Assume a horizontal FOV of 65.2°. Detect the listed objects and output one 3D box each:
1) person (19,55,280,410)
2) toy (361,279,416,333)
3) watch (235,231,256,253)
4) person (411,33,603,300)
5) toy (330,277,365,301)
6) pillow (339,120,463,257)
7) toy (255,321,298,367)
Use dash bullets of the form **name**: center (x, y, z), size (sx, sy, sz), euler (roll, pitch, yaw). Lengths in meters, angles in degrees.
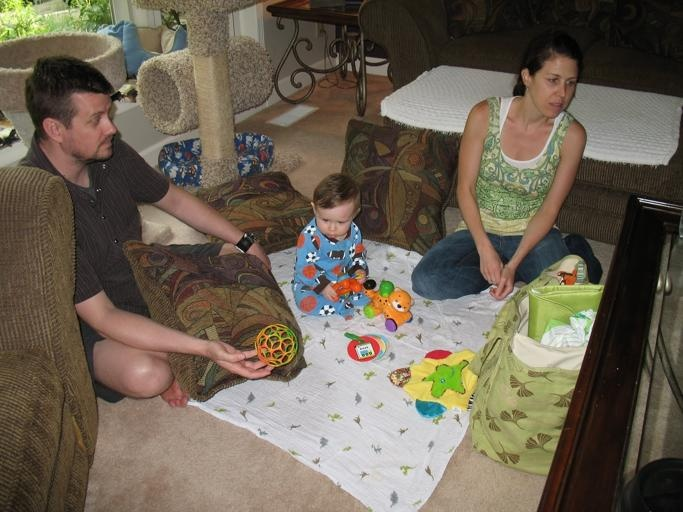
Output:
- **person**: center (-0.740, -0.041, 2.038), size (0.874, 1.195, 0.962), euler (2, 31, -12)
- **toy**: center (0.203, 0.209, 2.309), size (0.222, 0.184, 0.179), euler (2, 34, 2)
- **watch**: center (-0.411, -0.058, 2.308), size (0.067, 0.089, 0.038), euler (41, 2, 0)
- **person**: center (0.781, -0.313, 2.225), size (0.737, 1.102, 0.603), euler (18, 38, 25)
- **toy**: center (0.019, 0.144, 2.336), size (0.138, 0.074, 0.051), euler (-9, -3, -11)
- **pillow**: center (0.287, -0.500, 2.813), size (0.781, 0.222, 0.785), euler (6, 55, -5)
- **toy**: center (-0.235, 0.320, 1.906), size (0.145, 0.107, 0.175), euler (-5, 34, -9)
